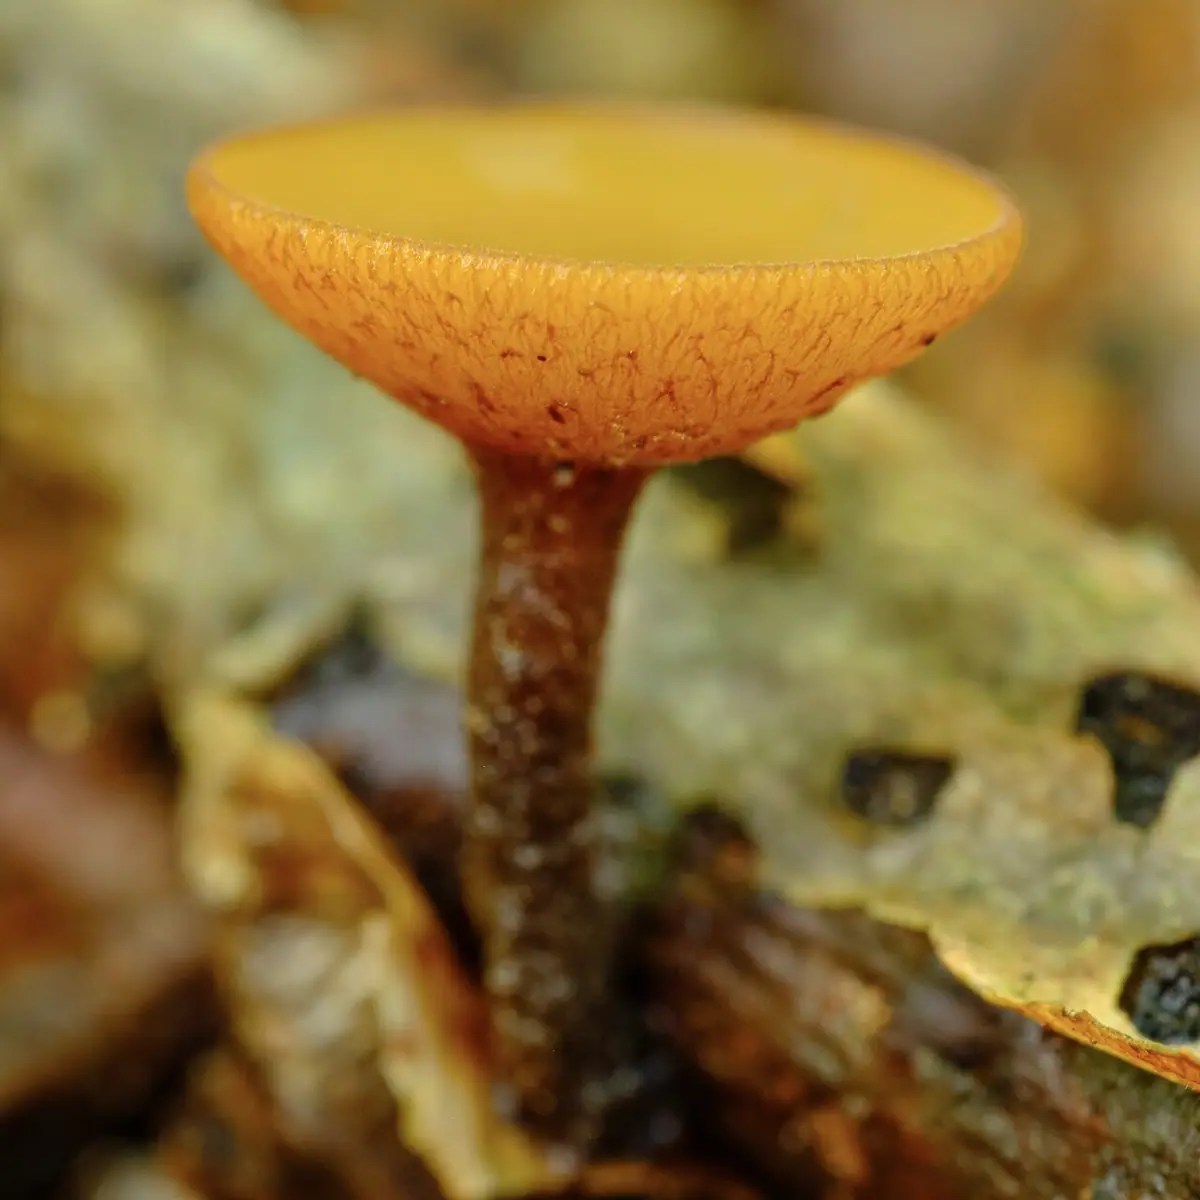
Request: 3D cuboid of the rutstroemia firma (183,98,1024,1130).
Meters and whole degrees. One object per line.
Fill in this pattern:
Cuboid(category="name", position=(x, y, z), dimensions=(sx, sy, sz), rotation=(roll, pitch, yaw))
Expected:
Cuboid(category="rutstroemia firma", position=(-0.009, 0.019, 0.705), dimensions=(0.355, 0.337, 0.342), rotation=(10, 13, 43))
